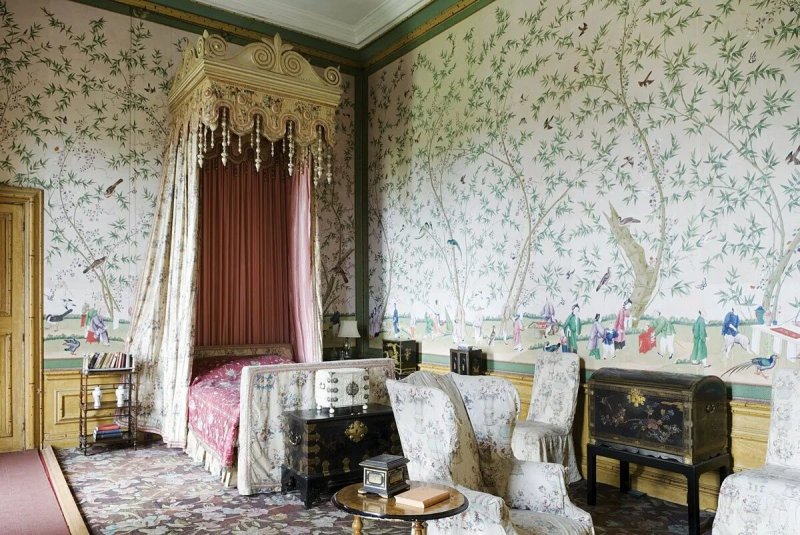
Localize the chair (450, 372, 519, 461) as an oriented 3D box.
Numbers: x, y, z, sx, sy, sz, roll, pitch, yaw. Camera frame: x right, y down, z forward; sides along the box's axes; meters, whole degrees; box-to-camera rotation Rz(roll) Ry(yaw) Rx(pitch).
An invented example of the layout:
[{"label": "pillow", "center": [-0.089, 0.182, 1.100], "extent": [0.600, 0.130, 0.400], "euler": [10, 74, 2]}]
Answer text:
[{"label": "chair", "center": [0.666, 1.095, 4.202], "extent": [0.498, 0.646, 0.522], "euler": [-1, -9, -10]}]

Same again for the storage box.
[{"label": "storage box", "center": [2.383, 1.173, 5.141], "extent": [0.667, 0.830, 1.140], "euler": [5, -8, -39]}]

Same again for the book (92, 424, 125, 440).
[{"label": "book", "center": [-3.411, 1.949, 6.596], "extent": [0.322, 0.171, 0.302], "euler": [-1, 4, -15]}]

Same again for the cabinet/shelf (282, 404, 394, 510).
[{"label": "cabinet/shelf", "center": [-0.570, 1.821, 5.570], "extent": [1.137, 0.808, 0.621], "euler": [6, -6, -42]}]

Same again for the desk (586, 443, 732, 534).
[{"label": "desk", "center": [2.295, 2.094, 4.990], "extent": [0.596, 0.664, 1.104], "euler": [4, -9, -32]}]

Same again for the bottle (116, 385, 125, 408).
[{"label": "bottle", "center": [-3.279, 1.504, 6.601], "extent": [0.089, 0.252, 0.140], "euler": [-3, 5, -32]}]
